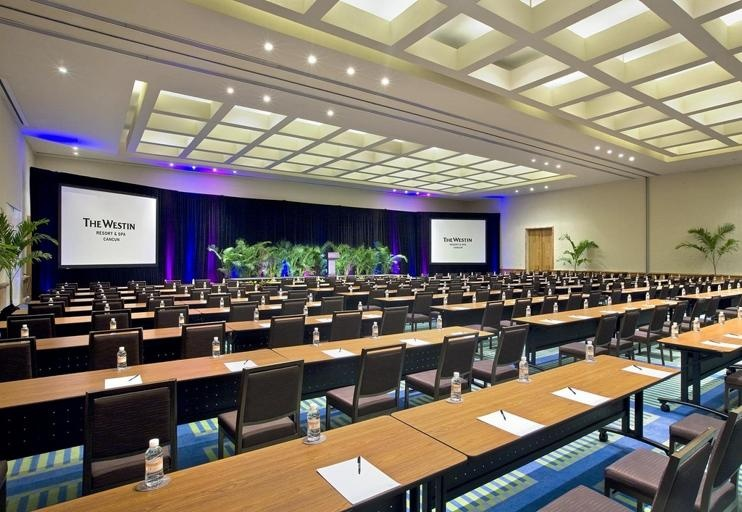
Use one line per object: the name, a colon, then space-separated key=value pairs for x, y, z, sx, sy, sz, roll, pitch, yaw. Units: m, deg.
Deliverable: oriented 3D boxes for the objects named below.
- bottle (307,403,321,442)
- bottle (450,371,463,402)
bottle: x=-0.468 y=1.348 z=3.505 sx=0.104 sy=0.229 sz=0.255 roll=-4 pitch=9 yaw=-6
bottle: x=0.787 y=1.210 z=3.967 sx=0.098 sy=0.235 sz=0.156 roll=-1 pitch=9 yaw=12
